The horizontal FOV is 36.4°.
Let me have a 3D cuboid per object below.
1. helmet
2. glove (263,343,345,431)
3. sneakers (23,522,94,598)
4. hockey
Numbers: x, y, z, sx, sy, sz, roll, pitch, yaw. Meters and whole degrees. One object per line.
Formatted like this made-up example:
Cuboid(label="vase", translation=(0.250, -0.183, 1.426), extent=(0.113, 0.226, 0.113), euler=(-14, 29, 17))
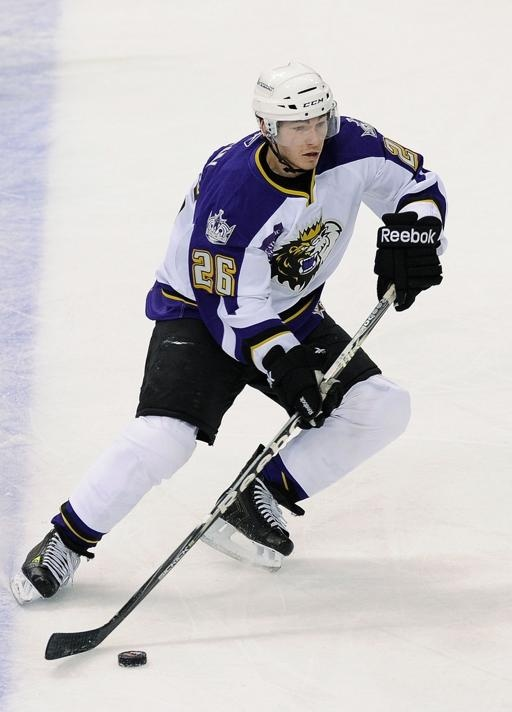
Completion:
Cuboid(label="helmet", translation=(0.118, -0.649, 2.046), extent=(0.205, 0.202, 0.222), euler=(-19, 40, -10))
Cuboid(label="glove", translation=(0.127, 0.067, 2.063), extent=(0.249, 0.178, 0.106), euler=(48, 16, 5))
Cuboid(label="sneakers", translation=(-0.530, 0.569, 2.221), extent=(0.152, 0.099, 0.302), euler=(-25, 17, 15))
Cuboid(label="hockey", translation=(-0.003, 0.327, 2.353), extent=(0.230, 1.675, 0.189), euler=(46, -2, -21))
